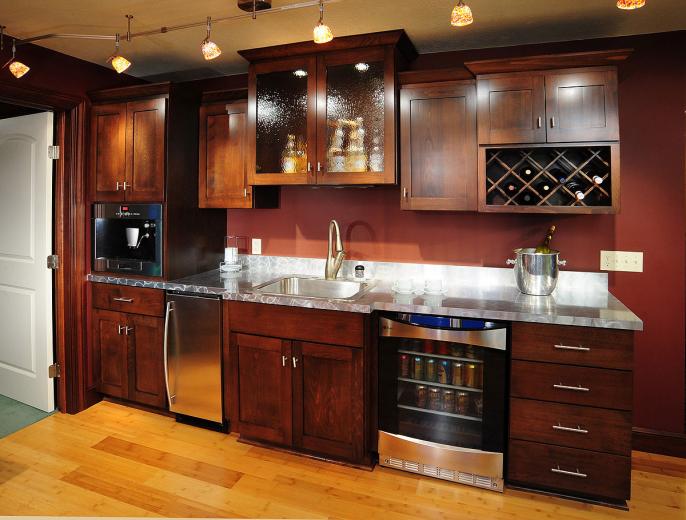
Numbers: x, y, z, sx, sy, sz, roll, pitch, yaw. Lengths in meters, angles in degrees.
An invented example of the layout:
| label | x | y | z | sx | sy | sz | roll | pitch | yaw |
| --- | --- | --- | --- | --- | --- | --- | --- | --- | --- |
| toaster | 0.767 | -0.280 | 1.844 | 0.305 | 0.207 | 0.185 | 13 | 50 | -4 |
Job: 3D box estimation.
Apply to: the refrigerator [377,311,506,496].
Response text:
| label | x | y | z | sx | sy | sz | roll | pitch | yaw |
| --- | --- | --- | --- | --- | --- | --- | --- | --- | --- |
| refrigerator | 0.717 | 0.840 | 3.827 | 1.099 | 1.449 | 0.977 | 0 | -2 | 19 |

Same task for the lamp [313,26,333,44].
| label | x | y | z | sx | sy | sz | roll | pitch | yaw |
| --- | --- | --- | --- | --- | --- | --- | --- | --- | --- |
| lamp | -0.103 | -1.248 | 3.028 | 0.085 | 0.097 | 0.160 | 1 | 5 | 4 |

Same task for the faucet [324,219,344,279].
| label | x | y | z | sx | sy | sz | roll | pitch | yaw |
| --- | --- | --- | --- | --- | --- | --- | --- | --- | --- |
| faucet | -0.051 | -0.078 | 4.133 | 0.153 | 0.450 | 0.259 | 1 | 4 | -1 |

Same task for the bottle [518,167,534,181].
| label | x | y | z | sx | sy | sz | roll | pitch | yaw |
| --- | --- | --- | --- | --- | --- | --- | --- | --- | --- |
| bottle | 1.222 | -0.582 | 3.660 | 0.111 | 0.104 | 0.102 | 1 | -16 | 12 |

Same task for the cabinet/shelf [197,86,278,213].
| label | x | y | z | sx | sy | sz | roll | pitch | yaw |
| --- | --- | --- | --- | --- | --- | --- | --- | --- | --- |
| cabinet/shelf | -0.813 | -0.780 | 4.345 | 0.488 | 0.791 | 0.481 | 0 | -2 | 8 |

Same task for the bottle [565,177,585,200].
| label | x | y | z | sx | sy | sz | roll | pitch | yaw |
| --- | --- | --- | --- | --- | --- | --- | --- | --- | --- |
| bottle | 1.515 | -0.469 | 3.562 | 0.105 | 0.102 | 0.316 | 5 | 25 | 11 |

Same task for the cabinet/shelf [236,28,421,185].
| label | x | y | z | sx | sy | sz | roll | pitch | yaw |
| --- | --- | --- | --- | --- | --- | --- | --- | --- | --- |
| cabinet/shelf | -0.106 | -1.012 | 4.001 | 1.233 | 0.979 | 0.494 | 3 | 6 | 24 |

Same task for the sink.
| label | x | y | z | sx | sy | sz | roll | pitch | yaw |
| --- | --- | --- | --- | --- | --- | --- | --- | --- | --- |
| sink | -0.173 | 0.224 | 3.914 | 0.772 | 0.141 | 0.570 | 3 | 5 | 19 |

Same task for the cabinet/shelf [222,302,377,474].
| label | x | y | z | sx | sy | sz | roll | pitch | yaw |
| --- | --- | --- | --- | --- | --- | --- | --- | --- | --- |
| cabinet/shelf | -0.193 | 0.807 | 3.863 | 1.167 | 1.069 | 0.587 | 1 | 4 | 30 |

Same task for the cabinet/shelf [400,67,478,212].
| label | x | y | z | sx | sy | sz | roll | pitch | yaw |
| --- | --- | --- | --- | --- | --- | --- | --- | --- | --- |
| cabinet/shelf | 0.695 | -0.792 | 3.853 | 0.548 | 0.837 | 0.414 | 0 | 17 | 13 |

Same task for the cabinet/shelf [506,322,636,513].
| label | x | y | z | sx | sy | sz | roll | pitch | yaw |
| --- | --- | --- | --- | --- | --- | --- | --- | --- | --- |
| cabinet/shelf | 1.464 | 0.901 | 3.569 | 0.849 | 1.061 | 0.869 | 0 | 6 | 3 |

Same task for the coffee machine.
| label | x | y | z | sx | sy | sz | roll | pitch | yaw |
| --- | --- | --- | --- | --- | --- | --- | --- | --- | --- |
| coffee machine | -1.584 | -0.150 | 4.103 | 0.568 | 0.483 | 0.209 | 0 | -1 | 18 |

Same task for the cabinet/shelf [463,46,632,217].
| label | x | y | z | sx | sy | sz | roll | pitch | yaw |
| --- | --- | --- | --- | --- | --- | --- | --- | --- | --- |
| cabinet/shelf | 1.349 | -0.828 | 3.548 | 1.172 | 1.149 | 0.535 | 0 | 2 | 19 |

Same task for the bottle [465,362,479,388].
| label | x | y | z | sx | sy | sz | roll | pitch | yaw |
| --- | --- | --- | --- | --- | --- | --- | --- | --- | --- |
| bottle | 0.801 | 0.719 | 3.385 | 0.084 | 0.154 | 0.009 | 3 | 4 | 25 |

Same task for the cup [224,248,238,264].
| label | x | y | z | sx | sy | sz | roll | pitch | yaw |
| --- | --- | --- | --- | --- | --- | --- | --- | --- | --- |
| cup | -0.873 | -0.032 | 4.316 | 0.095 | 0.123 | 0.128 | 0 | 5 | -16 |

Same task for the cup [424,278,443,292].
| label | x | y | z | sx | sy | sz | roll | pitch | yaw |
| --- | --- | --- | --- | --- | --- | --- | --- | --- | --- |
| cup | 0.609 | 0.168 | 3.652 | 0.097 | 0.068 | 0.096 | 1 | 2 | 0 |

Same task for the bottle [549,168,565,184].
| label | x | y | z | sx | sy | sz | roll | pitch | yaw |
| --- | --- | --- | --- | --- | --- | --- | --- | --- | --- |
| bottle | 1.415 | -0.553 | 3.597 | 0.087 | 0.120 | 0.074 | 6 | -18 | 14 |

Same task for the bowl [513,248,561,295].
| label | x | y | z | sx | sy | sz | roll | pitch | yaw |
| --- | --- | --- | --- | --- | --- | --- | --- | --- | --- |
| bowl | 1.290 | 0.094 | 3.648 | 0.399 | 0.297 | 0.262 | 0 | 1 | 23 |
